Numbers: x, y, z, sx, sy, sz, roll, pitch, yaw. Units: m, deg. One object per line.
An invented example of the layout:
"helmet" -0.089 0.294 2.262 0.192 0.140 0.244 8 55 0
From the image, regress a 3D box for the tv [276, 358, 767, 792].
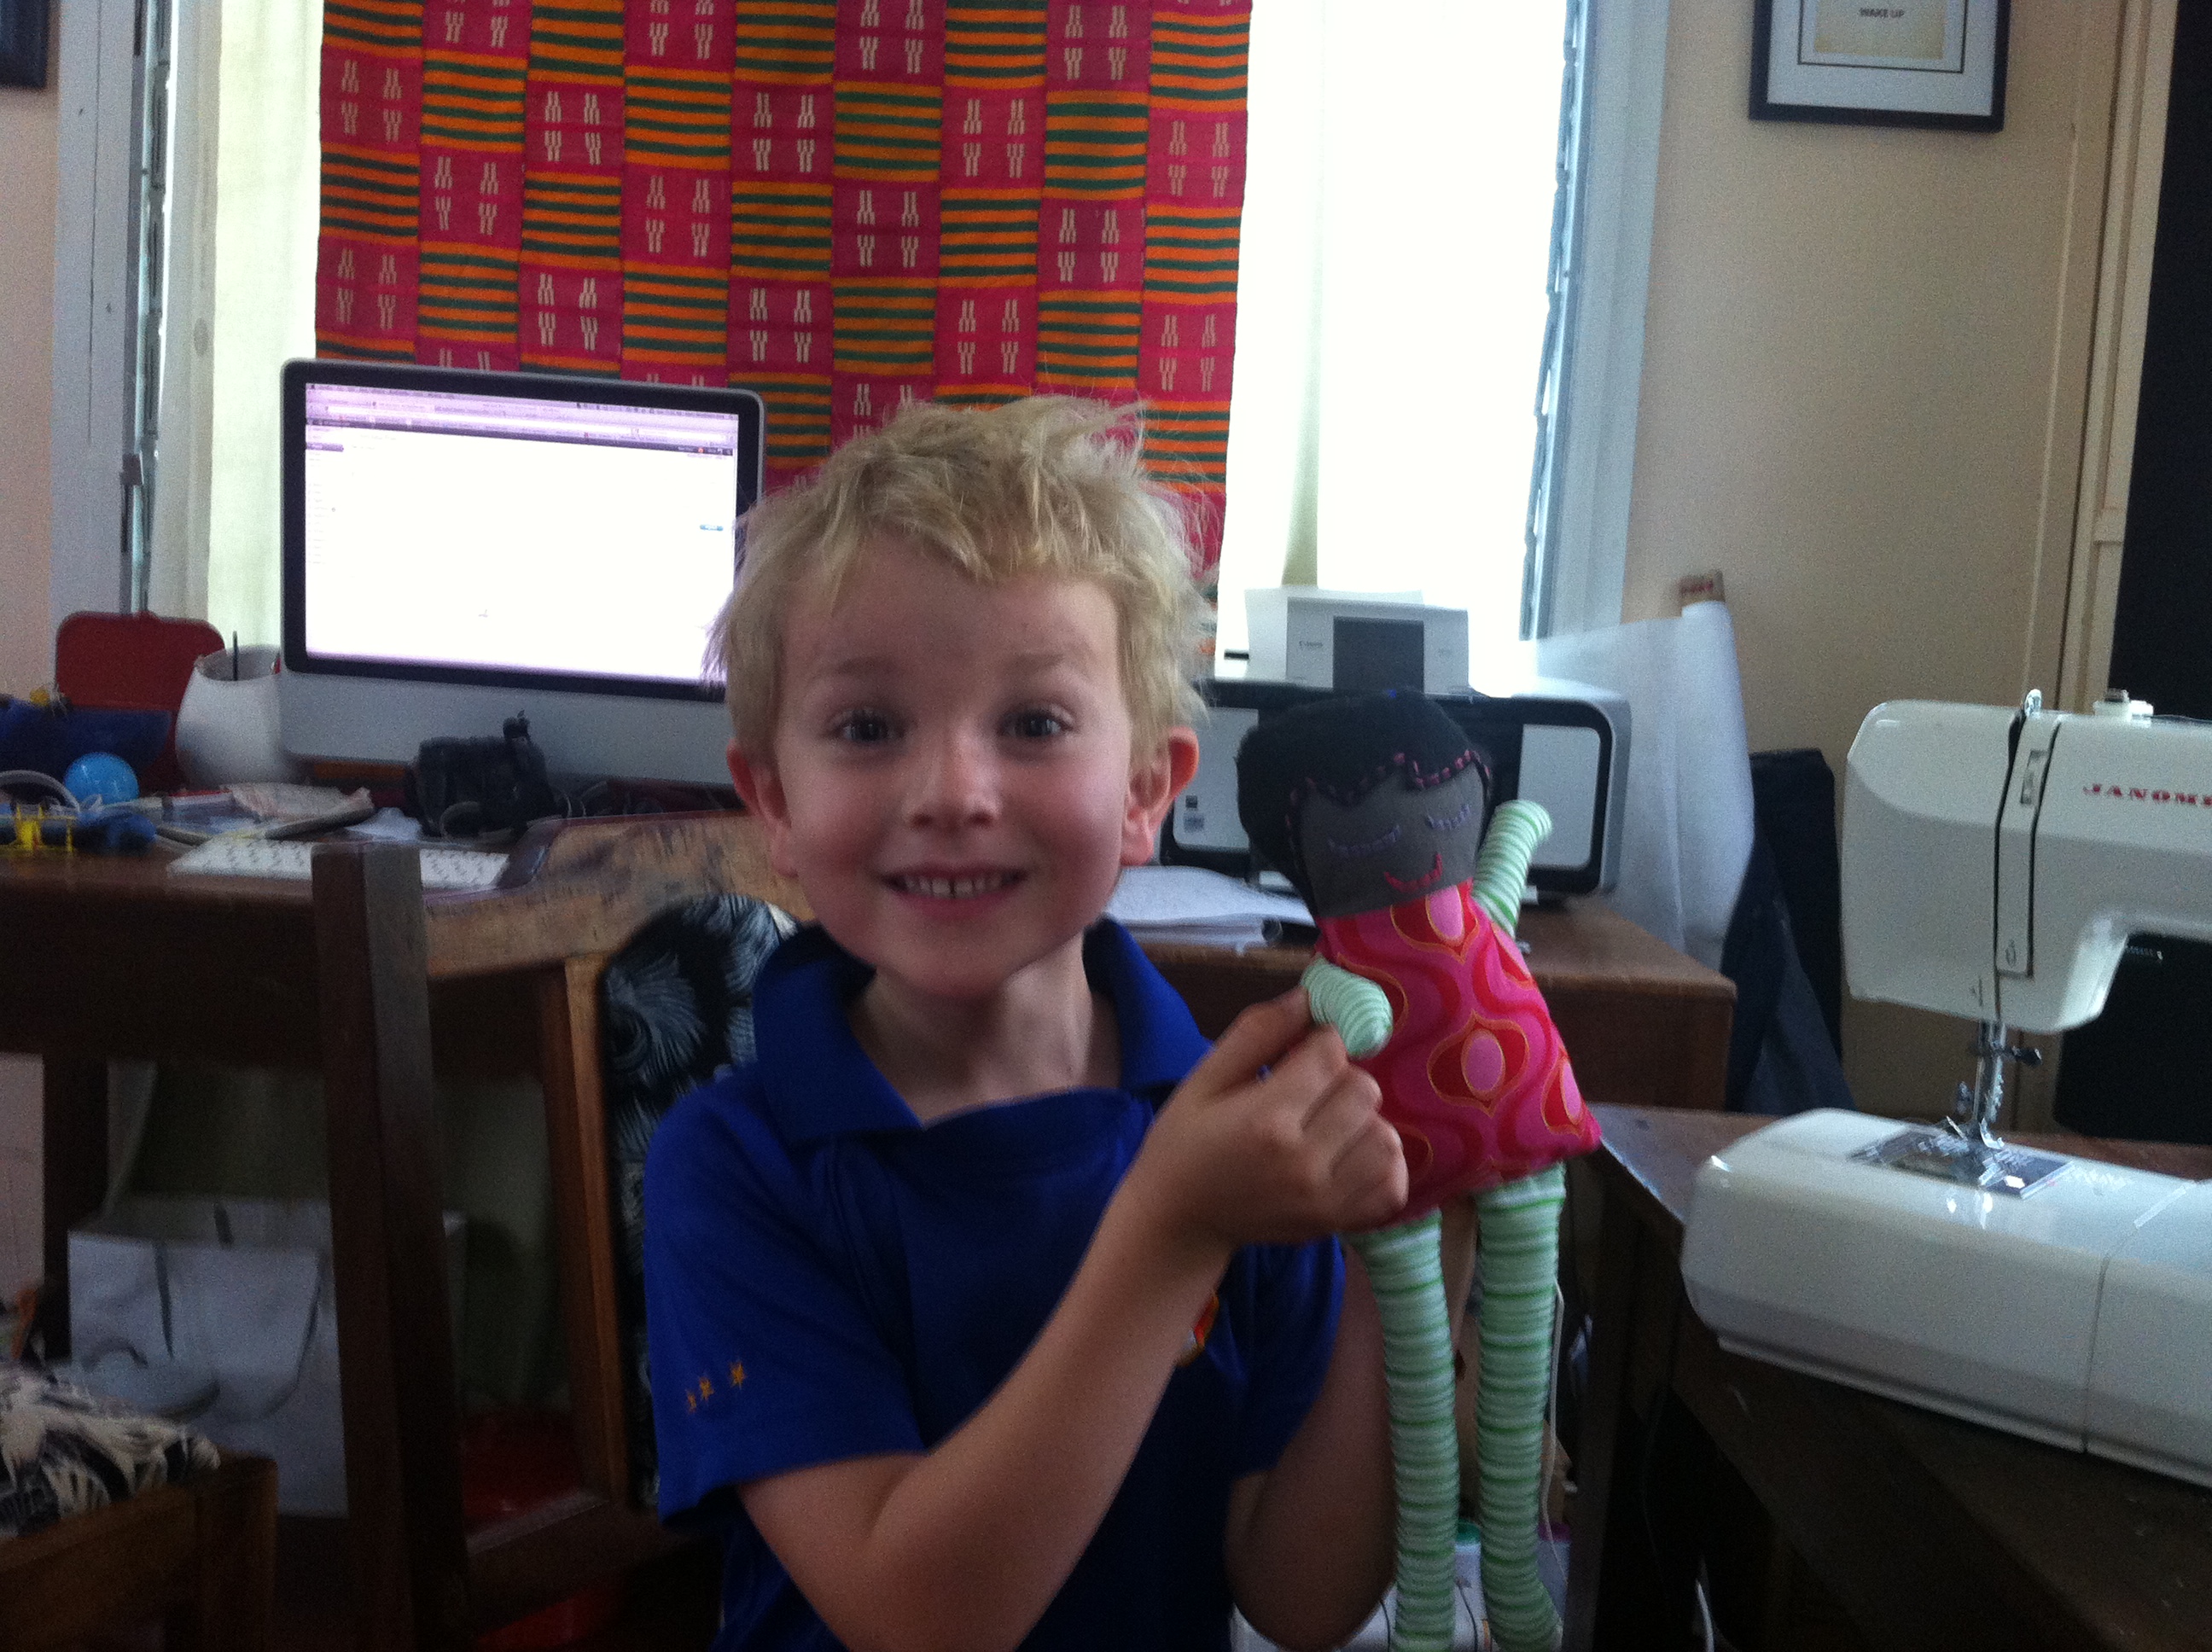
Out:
"tv" -0.671 -0.288 2.162 0.430 0.446 0.121 4 0 -1
